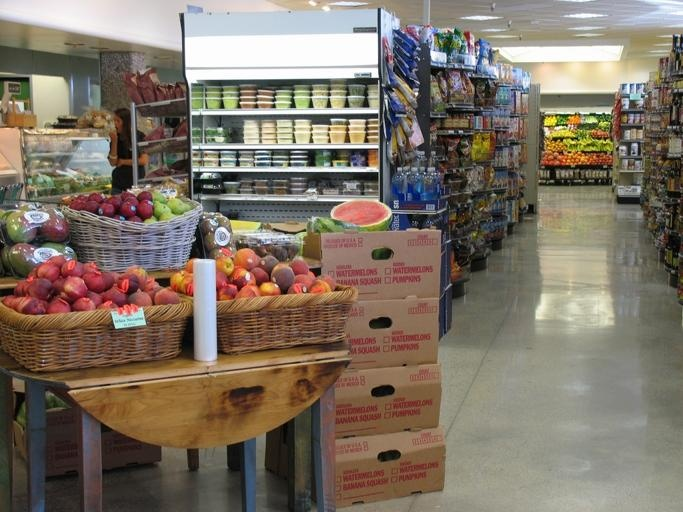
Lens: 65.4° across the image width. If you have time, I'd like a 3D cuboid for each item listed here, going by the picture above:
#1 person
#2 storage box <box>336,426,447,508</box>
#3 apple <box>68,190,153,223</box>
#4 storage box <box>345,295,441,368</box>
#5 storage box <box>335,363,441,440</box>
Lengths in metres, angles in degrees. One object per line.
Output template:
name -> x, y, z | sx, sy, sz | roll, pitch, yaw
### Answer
person -> -2.863, -1.476, 7.120 | 0.466, 1.112, 1.479 | -7, 11, -22
storage box -> 0.234, 1.045, 2.882 | 0.548, 0.334, 0.407 | 0, 10, -3
apple -> -1.011, -0.244, 2.379 | 0.346, 0.141, 0.273 | 5, 10, 21
storage box -> 0.228, 0.356, 2.820 | 0.712, 0.351, 0.463 | 0, 5, -4
storage box -> 0.236, 0.742, 2.703 | 0.526, 0.250, 0.360 | -1, 5, -6
